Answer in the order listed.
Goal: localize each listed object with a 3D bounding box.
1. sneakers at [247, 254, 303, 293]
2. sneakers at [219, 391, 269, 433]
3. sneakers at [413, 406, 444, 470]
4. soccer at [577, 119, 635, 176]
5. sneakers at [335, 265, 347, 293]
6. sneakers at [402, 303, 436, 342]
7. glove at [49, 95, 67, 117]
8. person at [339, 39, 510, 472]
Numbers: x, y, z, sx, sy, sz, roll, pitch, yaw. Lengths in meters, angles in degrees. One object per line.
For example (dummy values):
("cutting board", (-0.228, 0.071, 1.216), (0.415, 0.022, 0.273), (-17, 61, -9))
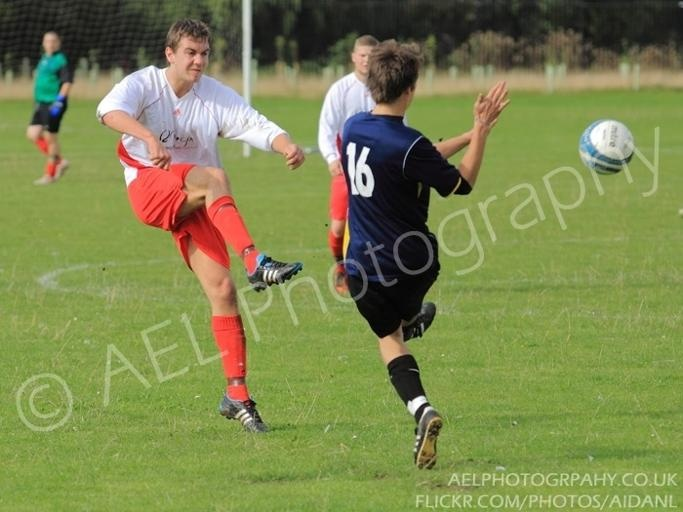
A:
("sneakers", (-0.573, 0.116, 9.836), (0.532, 0.265, 0.221), (-19, 5, 30))
("sneakers", (-0.804, 1.326, 10.057), (0.500, 0.258, 0.180), (27, 1, 24))
("sneakers", (0.645, 1.419, 9.323), (0.181, 0.494, 0.239), (4, 7, -17))
("soccer", (2.466, -1.011, 11.178), (0.520, 0.515, 0.324), (2, 13, 17))
("sneakers", (-0.009, 0.258, 12.877), (0.109, 0.281, 0.101), (-1, -18, 8))
("sneakers", (0.656, 0.572, 10.338), (0.121, 0.365, 0.254), (38, -8, 7))
("glove", (-4.517, -2.425, 19.148), (0.175, 0.343, 0.251), (26, -19, -23))
("person", (0.584, -0.051, 9.626), (1.091, 3.335, 1.266), (-3, 12, -6))
